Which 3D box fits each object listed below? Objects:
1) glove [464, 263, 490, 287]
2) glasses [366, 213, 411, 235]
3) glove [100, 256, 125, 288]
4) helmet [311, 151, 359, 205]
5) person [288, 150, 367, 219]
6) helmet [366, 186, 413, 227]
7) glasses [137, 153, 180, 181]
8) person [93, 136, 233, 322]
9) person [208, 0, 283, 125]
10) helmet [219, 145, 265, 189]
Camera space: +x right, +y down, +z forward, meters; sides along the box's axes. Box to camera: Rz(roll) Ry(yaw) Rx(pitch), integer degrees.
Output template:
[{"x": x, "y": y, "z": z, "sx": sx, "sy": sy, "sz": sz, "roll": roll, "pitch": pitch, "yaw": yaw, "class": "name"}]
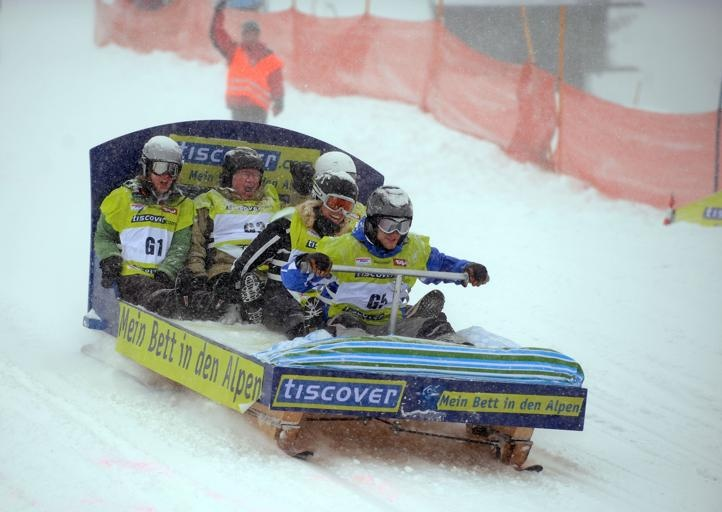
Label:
[{"x": 1.032, "y": 0.162, "z": 9.127, "sx": 0.206, "sy": 0.204, "sz": 0.206, "roll": 7, "pitch": 7, "yaw": 8, "class": "glove"}, {"x": 0.231, "y": -0.288, "z": 8.958, "sx": 0.375, "sy": 0.159, "sz": 0.168, "roll": 5, "pitch": 7, "yaw": -7, "class": "glasses"}, {"x": -2.501, "y": 0.140, "z": 9.982, "sx": 0.234, "sy": 0.293, "sz": 0.112, "roll": 3, "pitch": -13, "yaw": -4, "class": "glove"}, {"x": -0.307, "y": -0.888, "z": 10.848, "sx": 0.611, "sy": 0.591, "sz": 0.478, "roll": 7, "pitch": 13, "yaw": 28, "class": "helmet"}, {"x": -0.455, "y": -0.833, "z": 11.217, "sx": 0.874, "sy": 0.640, "sz": 0.638, "roll": -6, "pitch": -5, "yaw": 34, "class": "person"}, {"x": 0.265, "y": -0.479, "z": 9.071, "sx": 0.316, "sy": 0.348, "sz": 0.390, "roll": 4, "pitch": 6, "yaw": -10, "class": "helmet"}, {"x": -2.112, "y": -0.905, "z": 10.366, "sx": 0.252, "sy": 0.132, "sz": 0.314, "roll": 10, "pitch": -22, "yaw": -24, "class": "glasses"}, {"x": -2.063, "y": -0.352, "z": 9.939, "sx": 0.977, "sy": 1.679, "sz": 1.165, "roll": 4, "pitch": 7, "yaw": -22, "class": "person"}, {"x": -1.619, "y": -2.660, "z": 14.075, "sx": 0.988, "sy": 1.498, "sz": 1.962, "roll": 5, "pitch": 7, "yaw": -10, "class": "person"}, {"x": -1.297, "y": -0.959, "z": 10.595, "sx": 0.456, "sy": 0.402, "sz": 0.417, "roll": -4, "pitch": 3, "yaw": 39, "class": "helmet"}]
